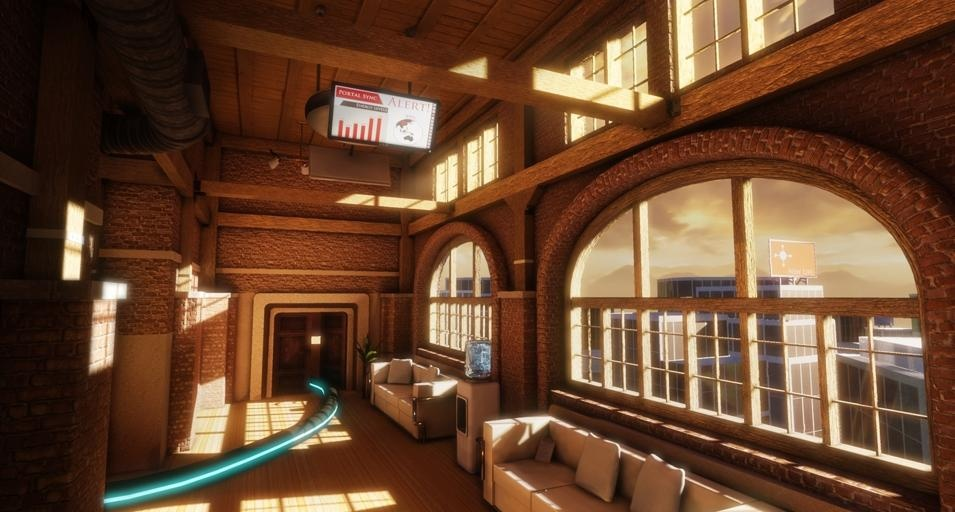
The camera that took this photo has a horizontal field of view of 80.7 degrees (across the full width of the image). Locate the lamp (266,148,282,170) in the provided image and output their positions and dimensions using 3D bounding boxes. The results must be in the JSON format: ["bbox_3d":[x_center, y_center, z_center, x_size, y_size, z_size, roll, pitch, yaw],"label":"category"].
[{"bbox_3d":[-4.713,-2.238,13.133,0.459,0.270,0.781,-8,35,-23],"label":"lamp"}]

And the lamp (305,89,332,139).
[{"bbox_3d":[-2.398,-2.136,8.443,0.288,0.832,0.865,1,-6,-20],"label":"lamp"}]
